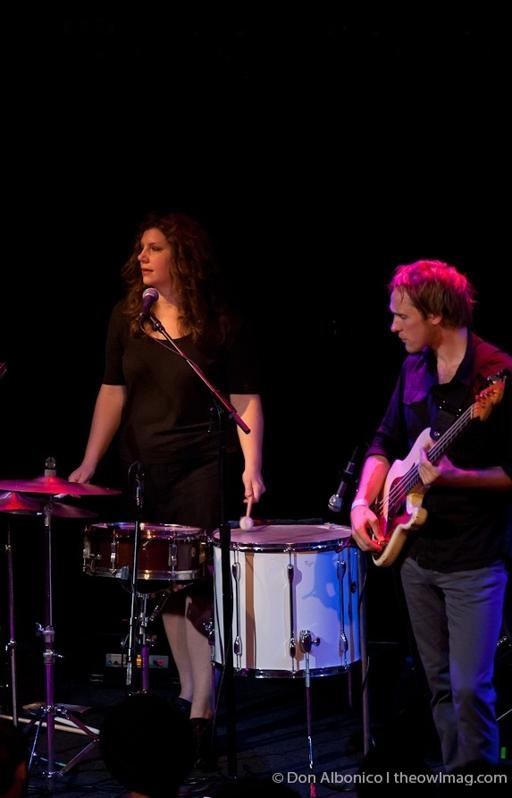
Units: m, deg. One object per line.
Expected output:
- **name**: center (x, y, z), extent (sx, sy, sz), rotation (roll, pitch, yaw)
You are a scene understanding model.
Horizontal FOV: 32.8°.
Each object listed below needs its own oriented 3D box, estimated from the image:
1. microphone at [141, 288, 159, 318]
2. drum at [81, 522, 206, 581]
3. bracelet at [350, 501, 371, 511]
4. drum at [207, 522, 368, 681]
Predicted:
- **microphone**: center (-0.369, -0.322, 3.003), extent (0.052, 0.049, 0.160), rotation (6, 36, 7)
- **drum**: center (-0.410, 0.613, 3.333), extent (0.493, 0.171, 0.497), rotation (1, -5, 0)
- **bracelet**: center (0.345, 0.360, 2.927), extent (0.038, 0.025, 0.038), rotation (-1, -1, 22)
- **drum**: center (0.112, 0.672, 3.079), extent (0.514, 0.455, 0.521), rotation (-3, -3, 27)
